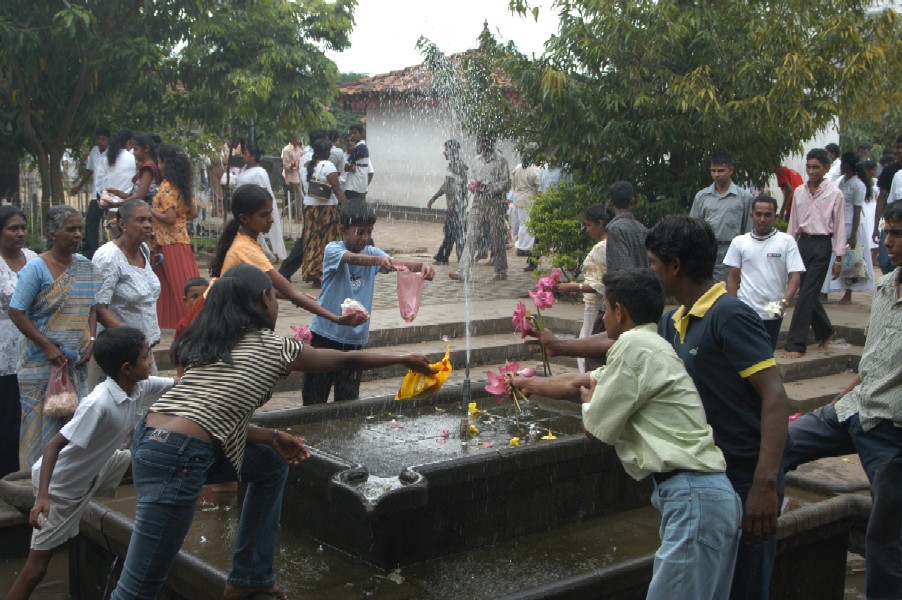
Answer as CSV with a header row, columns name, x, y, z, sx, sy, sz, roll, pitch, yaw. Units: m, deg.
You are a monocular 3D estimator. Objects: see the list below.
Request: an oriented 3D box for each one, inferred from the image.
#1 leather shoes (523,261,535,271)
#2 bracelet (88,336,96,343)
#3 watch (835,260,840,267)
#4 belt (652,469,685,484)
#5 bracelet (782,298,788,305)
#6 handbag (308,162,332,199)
name,x,y,z,sx,sy,sz,roll,pitch,yaw
leather shoes,1.477,-0.612,16.738,0.096,0.182,0.259,0,-6,23
bracelet,-3.084,0.339,7.629,0.045,0.057,0.028,-3,4,-30
watch,5.050,-0.469,11.633,0.083,0.076,0.084,0,1,13
belt,1.386,1.120,5.689,0.128,0.050,0.114,-4,-13,-10
bracelet,3.425,0.031,9.162,0.049,0.047,0.048,-3,3,-5
handbag,-2.009,-1.767,13.492,0.466,0.576,0.337,0,-9,-9
